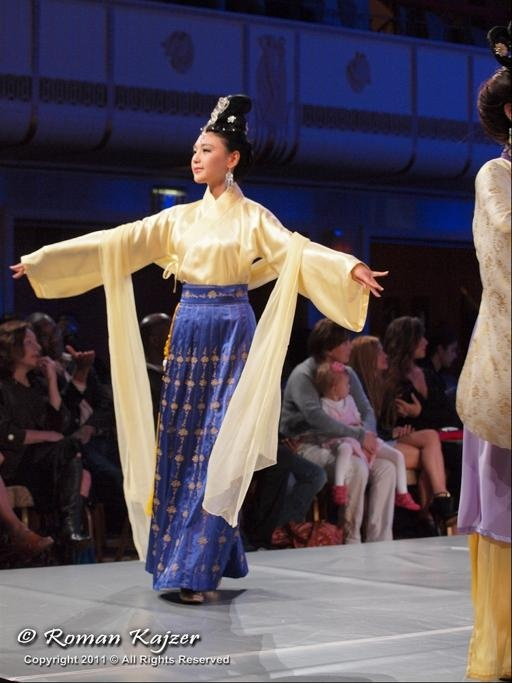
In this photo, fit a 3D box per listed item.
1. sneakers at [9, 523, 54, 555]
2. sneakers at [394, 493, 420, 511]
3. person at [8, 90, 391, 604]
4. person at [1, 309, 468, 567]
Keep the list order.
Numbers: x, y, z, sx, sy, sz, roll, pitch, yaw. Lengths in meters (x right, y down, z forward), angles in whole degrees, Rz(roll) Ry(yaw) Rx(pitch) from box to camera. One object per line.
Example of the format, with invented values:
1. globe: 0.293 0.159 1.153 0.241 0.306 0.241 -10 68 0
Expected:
1. sneakers: -0.860 0.759 3.828 0.199 0.114 0.066 -6 13 -18
2. sneakers: 0.676 0.734 4.545 0.072 0.043 0.119 -1 -2 -33
3. person: -0.178 -0.003 3.202 1.241 1.405 0.347 1 -1 23
4. person: 0.000 0.427 4.745 2.248 0.823 1.118 1 -4 -33
